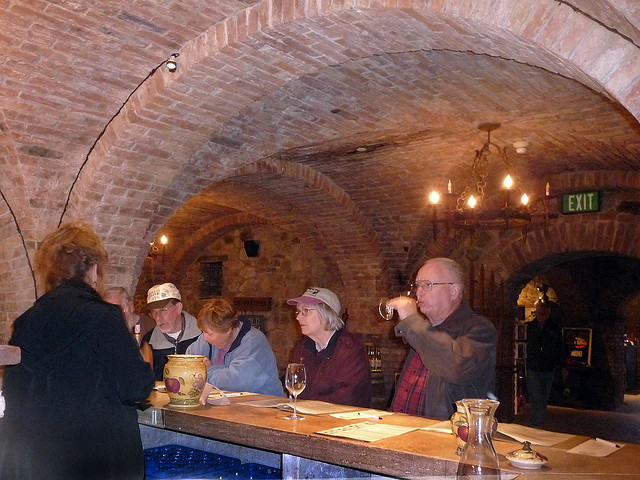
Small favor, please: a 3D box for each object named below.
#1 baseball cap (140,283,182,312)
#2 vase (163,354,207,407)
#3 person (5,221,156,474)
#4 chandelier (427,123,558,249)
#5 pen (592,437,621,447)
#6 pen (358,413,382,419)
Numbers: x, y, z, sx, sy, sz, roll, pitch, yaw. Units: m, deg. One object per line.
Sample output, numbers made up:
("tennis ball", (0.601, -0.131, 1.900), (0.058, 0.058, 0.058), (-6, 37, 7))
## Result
("baseball cap", (-1.425, 0.490, 4.478), (0.301, 0.179, 0.401), (-11, 4, 18))
("vase", (-0.758, 0.784, 2.801), (0.226, 0.279, 0.159), (-1, -11, -14))
("person", (-1.089, 0.473, 2.296), (0.610, 1.180, 0.274), (-1, -11, -16))
("chandelier", (2.156, -0.731, 6.356), (1.692, 1.336, 1.730), (-1, 4, 37))
("pen", (1.265, 0.888, 2.202), (0.016, 0.013, 0.102), (-1, 5, -40))
("pen", (0.254, 0.894, 2.542), (0.108, 0.011, 0.018), (1, -11, 41))
